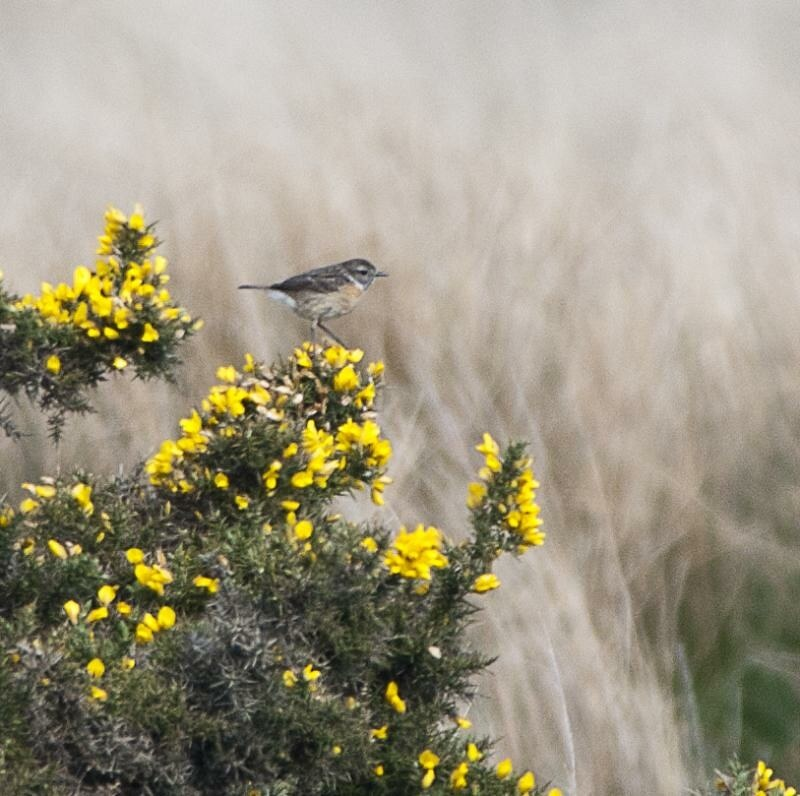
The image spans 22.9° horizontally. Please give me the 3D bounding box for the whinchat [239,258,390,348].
[{"bbox_3d":[-0.198,-0.225,4.289,0.296,0.108,0.221,6,-68,-1],"label":"whinchat"}]
